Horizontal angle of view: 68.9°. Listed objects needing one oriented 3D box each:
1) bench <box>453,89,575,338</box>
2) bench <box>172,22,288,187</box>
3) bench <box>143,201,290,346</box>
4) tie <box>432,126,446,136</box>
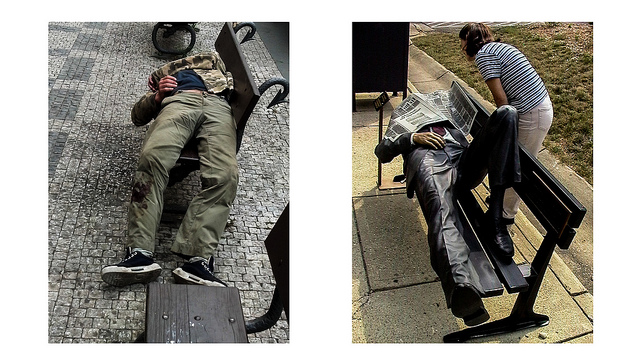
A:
[{"bbox_3d":[2.445,0.457,5.976,1.258,2.954,1.916,-7,-16,21],"label":"bench"},{"bbox_3d":[-1.778,-1.376,7.148,1.863,2.234,1.734,4,-50,-26],"label":"bench"},{"bbox_3d":[-1.208,1.110,5.343,1.527,1.072,1.550,10,-39,-25],"label":"bench"},{"bbox_3d":[1.611,-0.667,6.318,0.121,0.196,0.019,31,-46,22],"label":"tie"}]
